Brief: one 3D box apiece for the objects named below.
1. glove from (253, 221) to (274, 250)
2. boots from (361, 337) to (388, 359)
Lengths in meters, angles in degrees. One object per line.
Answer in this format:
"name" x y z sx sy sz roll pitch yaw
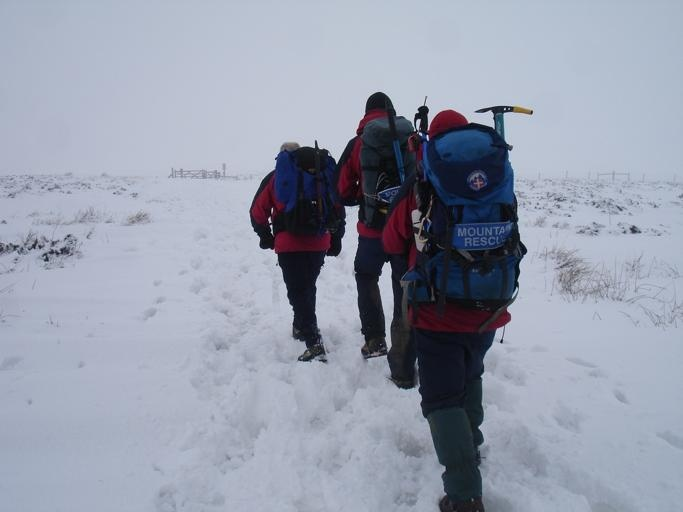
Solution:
"glove" -0.982 -0.262 6.579 0.191 0.327 0.296 -4 4 -6
"boots" 0.410 1.126 6.306 0.167 0.277 0.354 -2 6 -24
